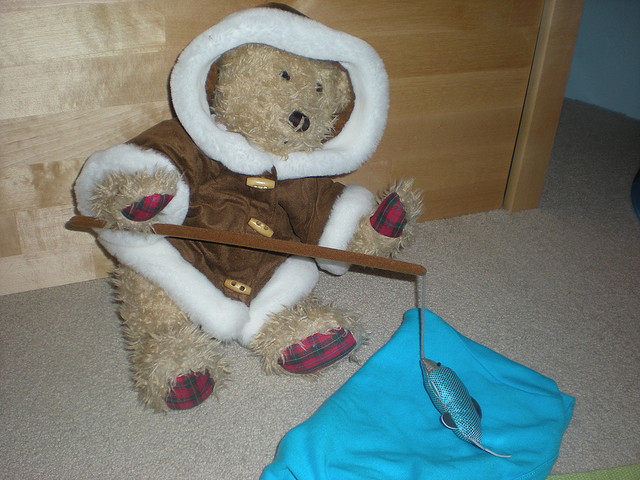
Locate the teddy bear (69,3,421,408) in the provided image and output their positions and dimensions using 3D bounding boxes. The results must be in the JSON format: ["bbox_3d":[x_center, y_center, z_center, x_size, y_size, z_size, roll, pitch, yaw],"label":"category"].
[{"bbox_3d":[-0.152,-0.073,1.226,0.698,0.699,0.522,-20,41,-18],"label":"teddy bear"}]

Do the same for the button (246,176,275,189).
[{"bbox_3d":[-0.126,-0.124,1.225,0.051,0.025,0.017,1,-4,-2],"label":"button"}]

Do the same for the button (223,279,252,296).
[{"bbox_3d":[-0.175,0.100,1.241,0.053,0.017,0.026,24,75,-6],"label":"button"}]

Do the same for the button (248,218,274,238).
[{"bbox_3d":[-0.125,-0.027,1.249,0.056,0.028,0.019,36,10,-11],"label":"button"}]
